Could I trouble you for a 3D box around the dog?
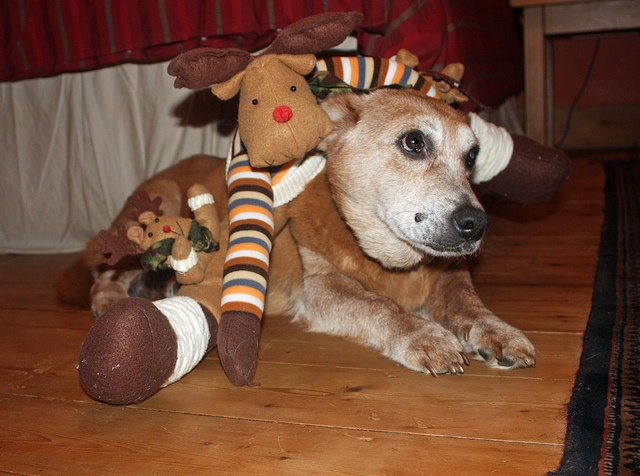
[{"bbox_3d":[0.052,-0.146,2.631,1.549,0.768,0.874,15,16,40],"label":"dog"}]
